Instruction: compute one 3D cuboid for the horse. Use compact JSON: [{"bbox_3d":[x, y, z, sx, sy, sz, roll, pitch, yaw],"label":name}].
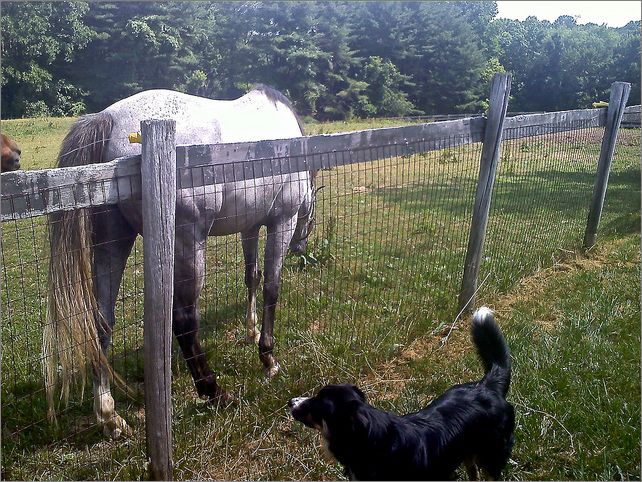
[{"bbox_3d":[-1.274,0.066,5.084,2.774,2.893,1.296,-13,22,-42],"label":"horse"}]
